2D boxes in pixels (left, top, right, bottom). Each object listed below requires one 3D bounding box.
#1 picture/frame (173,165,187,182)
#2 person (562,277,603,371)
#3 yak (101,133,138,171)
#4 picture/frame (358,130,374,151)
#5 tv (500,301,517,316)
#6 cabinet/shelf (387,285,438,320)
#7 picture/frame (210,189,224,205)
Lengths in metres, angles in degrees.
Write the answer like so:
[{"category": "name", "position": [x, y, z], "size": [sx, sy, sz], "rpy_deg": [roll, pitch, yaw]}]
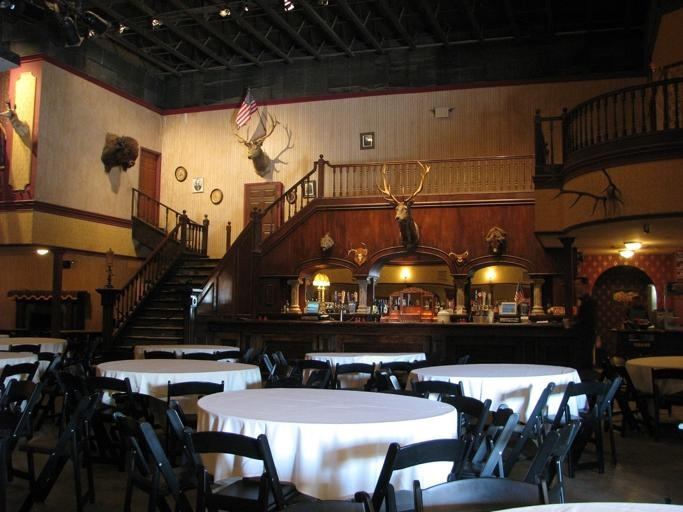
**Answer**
[{"category": "picture/frame", "position": [-4.533, -2.299, 18.736], "size": [0.367, 0.390, 0.086], "rpy_deg": [36, 18, 21]}, {"category": "person", "position": [4.789, 1.349, 13.286], "size": [0.551, 1.921, 0.720], "rpy_deg": [4, -1, 17]}, {"category": "yak", "position": [-5.745, -2.634, 17.357], "size": [0.480, 1.079, 0.992], "rpy_deg": [0, -7, 20]}, {"category": "picture/frame", "position": [0.651, -2.991, 17.399], "size": [0.449, 0.566, 0.055], "rpy_deg": [1, 1, 18]}, {"category": "tv", "position": [3.343, 1.047, 13.340], "size": [0.365, 0.365, 0.215], "rpy_deg": [1, -1, 22]}, {"category": "cabinet/shelf", "position": [1.533, 1.067, 14.357], "size": [0.984, 0.834, 0.580], "rpy_deg": [-1, -8, 8]}, {"category": "picture/frame", "position": [-3.442, -1.624, 18.385], "size": [0.362, 0.419, 0.066], "rpy_deg": [3, -1, 24]}]
